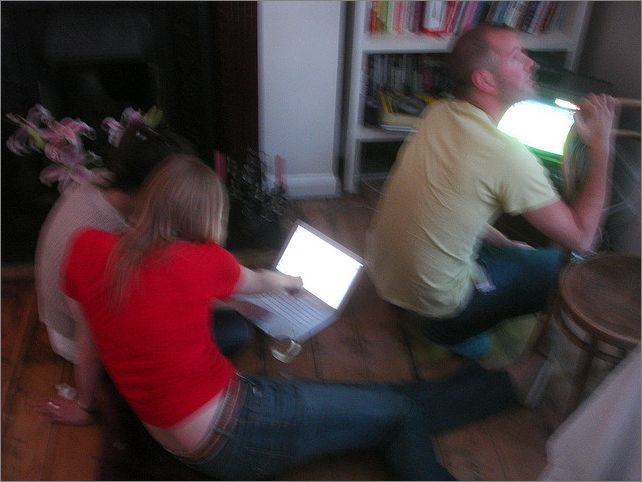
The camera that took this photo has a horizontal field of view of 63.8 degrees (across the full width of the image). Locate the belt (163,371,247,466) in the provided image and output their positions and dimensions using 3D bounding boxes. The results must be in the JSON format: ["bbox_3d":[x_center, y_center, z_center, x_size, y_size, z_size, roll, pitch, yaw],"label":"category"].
[{"bbox_3d":[-0.310,0.456,1.344,0.049,0.215,0.218,16,43,-5],"label":"belt"}]

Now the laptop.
[{"bbox_3d":[-0.032,0.148,1.923,0.414,0.441,0.283,31,18,27],"label":"laptop"}]
